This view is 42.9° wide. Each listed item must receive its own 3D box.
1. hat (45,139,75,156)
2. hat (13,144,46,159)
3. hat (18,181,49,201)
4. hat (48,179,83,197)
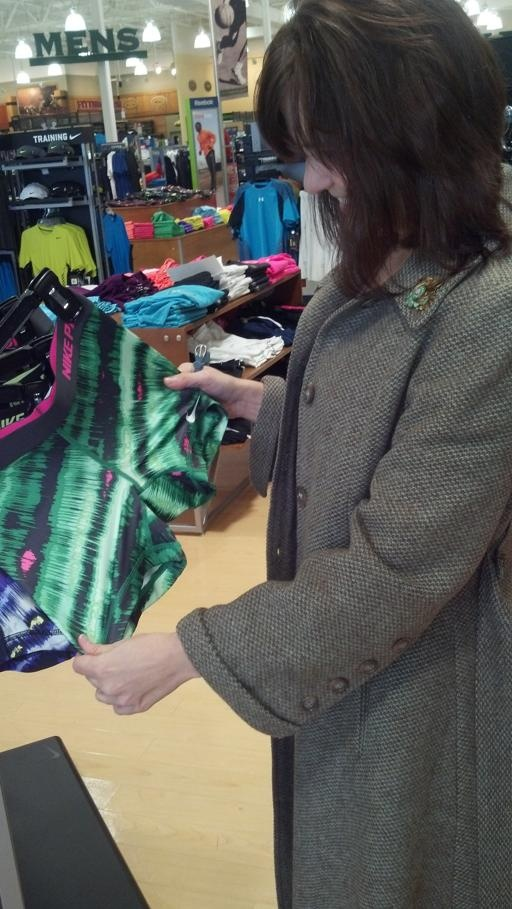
[{"bbox_3d":[-1.523,-2.378,5.075,0.177,0.122,0.091,-12,10,-30],"label":"hat"},{"bbox_3d":[-1.782,-2.363,5.099,0.137,0.103,0.184,17,31,35],"label":"hat"},{"bbox_3d":[-1.761,-2.096,5.172,0.135,0.091,0.196,0,28,-1],"label":"hat"},{"bbox_3d":[-1.511,-2.104,5.185,0.161,0.084,0.236,4,22,3],"label":"hat"}]
